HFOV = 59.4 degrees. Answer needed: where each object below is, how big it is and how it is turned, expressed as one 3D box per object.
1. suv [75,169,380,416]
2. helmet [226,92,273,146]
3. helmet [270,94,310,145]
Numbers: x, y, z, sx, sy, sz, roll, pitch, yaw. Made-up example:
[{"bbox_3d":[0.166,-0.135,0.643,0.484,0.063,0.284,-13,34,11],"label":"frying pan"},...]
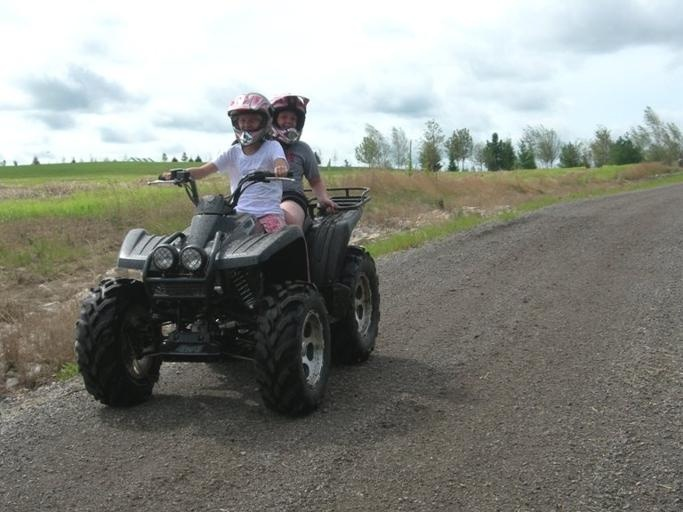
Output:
[{"bbox_3d":[-0.981,0.205,7.241,2.156,2.764,3.947,-1,2,13],"label":"suv"},{"bbox_3d":[-1.013,-1.430,6.337,0.385,0.583,0.546,-4,-5,-15],"label":"helmet"},{"bbox_3d":[-0.685,-1.747,7.353,0.399,0.608,0.595,-4,29,-25],"label":"helmet"}]
